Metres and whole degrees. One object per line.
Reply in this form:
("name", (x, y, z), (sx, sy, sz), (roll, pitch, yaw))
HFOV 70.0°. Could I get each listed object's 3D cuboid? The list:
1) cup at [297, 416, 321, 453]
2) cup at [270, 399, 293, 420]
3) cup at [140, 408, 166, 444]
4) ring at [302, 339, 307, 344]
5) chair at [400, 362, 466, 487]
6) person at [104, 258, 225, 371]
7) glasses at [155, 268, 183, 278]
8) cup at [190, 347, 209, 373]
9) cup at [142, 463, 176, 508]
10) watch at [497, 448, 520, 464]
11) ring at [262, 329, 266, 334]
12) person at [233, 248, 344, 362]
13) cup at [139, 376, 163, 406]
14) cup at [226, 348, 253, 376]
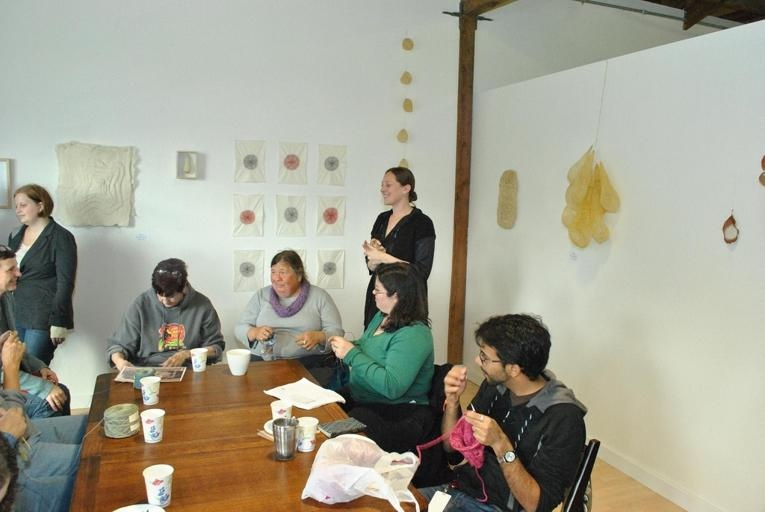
("cup", (-0.347, 0.839, 2.576), (0.124, 0.108, 0.136), (1, -8, 0))
("cup", (-0.494, 0.743, 2.629), (0.089, 0.075, 0.097), (1, -6, 0))
("cup", (-1.066, 0.786, 2.522), (0.136, 0.146, 0.141), (0, -6, 0))
("ring", (-0.508, 0.554, 3.504), (0.032, 0.030, 0.008), (2, -3, -23))
("chair", (0.274, 0.954, 3.124), (0.517, 0.619, 0.449), (0, 1, -10))
("person", (-1.439, 0.492, 3.654), (0.709, 0.922, 0.512), (-3, 25, -30))
("glasses", (-1.375, 0.112, 3.495), (0.139, 0.052, 0.042), (-1, 8, -14))
("cup", (-1.077, 0.635, 3.272), (0.126, 0.136, 0.129), (0, -6, 0))
("cup", (-0.909, 0.932, 2.232), (0.139, 0.141, 0.141), (-1, -7, 0))
("watch", (0.579, 0.929, 2.520), (0.071, 0.053, 0.070), (4, -24, -6))
("ring", (-0.788, 0.504, 3.604), (0.026, 0.024, 0.007), (0, -15, -4))
("person", (-0.642, 0.413, 3.897), (0.982, 0.912, 0.677), (1, -2, 6))
("cup", (-1.201, 0.696, 2.814), (0.127, 0.141, 0.128), (-1, -5, 0))
("cup", (-0.839, 0.616, 3.148), (0.135, 0.124, 0.150), (-1, -9, 7))
